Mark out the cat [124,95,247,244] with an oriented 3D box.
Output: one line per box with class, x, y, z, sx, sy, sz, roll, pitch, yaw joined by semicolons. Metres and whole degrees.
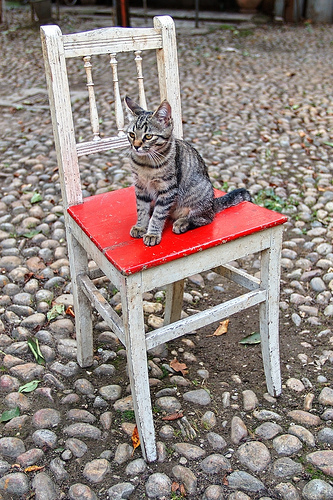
cat;0.001;-0.259;1.349;0.311;0.379;0.460;14;29;31
